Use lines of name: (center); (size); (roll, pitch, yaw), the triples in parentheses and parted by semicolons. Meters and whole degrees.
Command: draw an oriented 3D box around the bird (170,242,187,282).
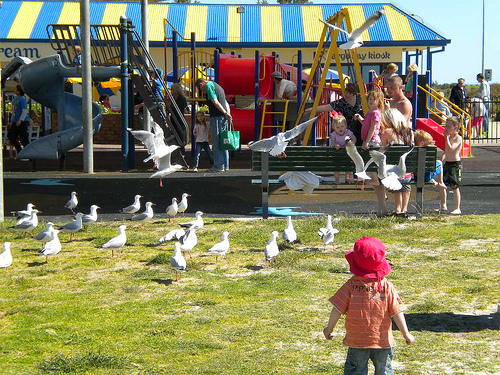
bird: (-1.480, 1.608, 26.642); (0.329, 0.801, 0.607); (0, 0, -3)

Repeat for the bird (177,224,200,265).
bird: (-1.346, 1.242, 27.127); (0.262, 0.703, 0.809); (1, 2, 13)

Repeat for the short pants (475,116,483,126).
short pants: (8.620, -2.540, 46.784); (0.111, 0.369, 0.352); (8, 2, -29)

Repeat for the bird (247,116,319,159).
bird: (0.669, -1.054, 29.232); (1.726, 0.822, 1.001); (-16, -24, 26)

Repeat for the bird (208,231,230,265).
bird: (-0.611, 1.331, 27.162); (0.380, 0.700, 0.621); (0, 0, 16)

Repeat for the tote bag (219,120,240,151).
tote bag: (-0.520, -1.464, 34.748); (0.553, 0.972, 0.470); (-2, -11, -1)

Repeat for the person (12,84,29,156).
person: (-6.980, -2.119, 38.339); (0.509, 2.135, 1.308); (0, 0, -11)

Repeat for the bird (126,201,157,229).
bird: (-2.478, 0.616, 28.942); (0.643, 0.631, 0.340); (-3, -2, 11)

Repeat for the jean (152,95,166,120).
jean: (-2.623, -2.401, 36.788); (0.380, 0.800, 1.414); (0, 1, -4)

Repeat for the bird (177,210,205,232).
bird: (-1.242, 0.789, 28.145); (0.584, 0.507, 0.345); (2, 3, -35)

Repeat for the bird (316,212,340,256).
bird: (1.766, 1.044, 27.495); (0.388, 0.780, 0.907); (0, 7, 10)

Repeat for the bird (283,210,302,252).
bird: (0.912, 1.035, 27.538); (0.244, 0.716, 0.801); (-3, 10, 1)

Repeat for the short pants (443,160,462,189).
short pants: (4.880, -0.312, 29.952); (0.407, 0.702, 0.325); (0, 0, 10)

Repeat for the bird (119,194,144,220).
bird: (-2.787, 0.459, 29.311); (0.634, 0.735, 0.353); (-6, -2, 19)

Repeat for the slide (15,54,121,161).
slide: (-5.519, -2.415, 36.863); (2.638, 3.164, 2.336); (0, 0, 4)

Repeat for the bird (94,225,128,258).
bird: (-3.001, 1.148, 27.552); (0.700, 0.738, 0.564); (0, 13, -25)

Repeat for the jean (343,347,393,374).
jean: (2.321, 3.383, 24.013); (1.178, 0.520, 0.829); (2, 7, 3)

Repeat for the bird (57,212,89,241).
bird: (-4.005, 0.866, 28.101); (0.725, 0.709, 0.316); (6, 17, 0)

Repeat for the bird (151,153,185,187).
bird: (-1.918, -0.579, 30.049); (0.494, 0.516, 0.643); (0, 0, -4)

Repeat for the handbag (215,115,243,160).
handbag: (-0.499, -1.439, 34.775); (0.564, 0.947, 0.440); (0, -16, -2)

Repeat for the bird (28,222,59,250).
bird: (-4.447, 1.024, 27.589); (0.649, 0.636, 0.347); (1, 2, 23)

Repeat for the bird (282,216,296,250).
bird: (0.913, 1.020, 27.784); (0.293, 0.749, 0.930); (0, 0, 2)
